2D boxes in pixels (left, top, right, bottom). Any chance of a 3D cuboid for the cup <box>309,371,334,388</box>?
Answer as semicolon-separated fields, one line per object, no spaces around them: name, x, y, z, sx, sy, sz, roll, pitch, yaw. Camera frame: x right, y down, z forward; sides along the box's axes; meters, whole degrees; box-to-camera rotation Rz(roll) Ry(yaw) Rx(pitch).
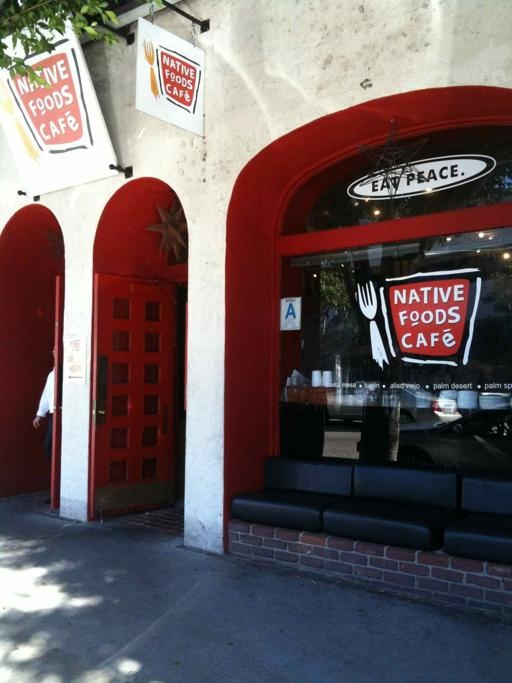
cup;0.528;0.307;4.490;0.133;0.128;0.133;3;-4;0
